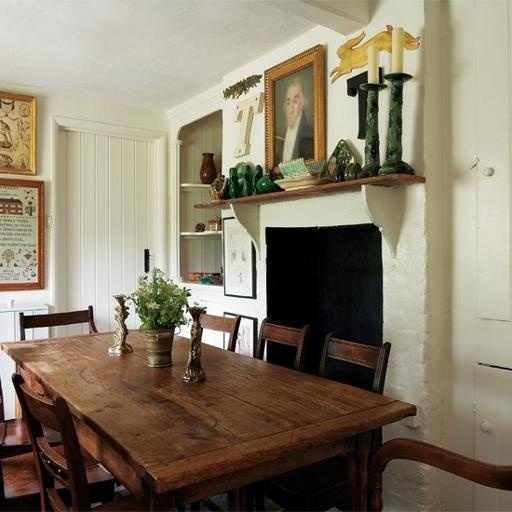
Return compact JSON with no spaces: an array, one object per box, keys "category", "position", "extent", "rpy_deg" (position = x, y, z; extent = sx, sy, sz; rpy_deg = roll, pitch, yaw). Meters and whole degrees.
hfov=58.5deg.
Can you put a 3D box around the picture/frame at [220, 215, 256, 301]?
[{"category":"picture/frame","position":[-0.116,0.006,3.294],"extent":[0.028,0.855,0.614],"rpy_deg":[-1,-2,-24]}]

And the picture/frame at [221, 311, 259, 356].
[{"category":"picture/frame","position":[-0.091,0.499,2.984],"extent":[0.028,0.429,0.361],"rpy_deg":[0,-2,-37]}]

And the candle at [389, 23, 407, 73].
[{"category":"candle","position":[0.596,-0.865,1.920],"extent":[0.044,0.185,0.029],"rpy_deg":[2,3,10]}]

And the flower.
[{"category":"flower","position":[-0.407,0.146,2.096],"extent":[0.308,0.362,0.309],"rpy_deg":[0,4,-4]}]

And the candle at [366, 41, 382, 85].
[{"category":"candle","position":[0.518,-0.836,2.005],"extent":[0.046,0.160,0.044],"rpy_deg":[1,3,8]}]

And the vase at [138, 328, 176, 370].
[{"category":"vase","position":[-0.432,0.406,2.082],"extent":[0.141,0.172,0.156],"rpy_deg":[0,-3,-37]}]

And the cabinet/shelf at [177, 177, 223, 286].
[{"category":"cabinet/shelf","position":[-0.542,-0.232,4.433],"extent":[0.535,1.015,0.362],"rpy_deg":[3,11,34]}]

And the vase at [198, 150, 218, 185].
[{"category":"vase","position":[-0.456,-0.846,4.396],"extent":[0.179,0.282,0.180],"rpy_deg":[-2,14,-7]}]
